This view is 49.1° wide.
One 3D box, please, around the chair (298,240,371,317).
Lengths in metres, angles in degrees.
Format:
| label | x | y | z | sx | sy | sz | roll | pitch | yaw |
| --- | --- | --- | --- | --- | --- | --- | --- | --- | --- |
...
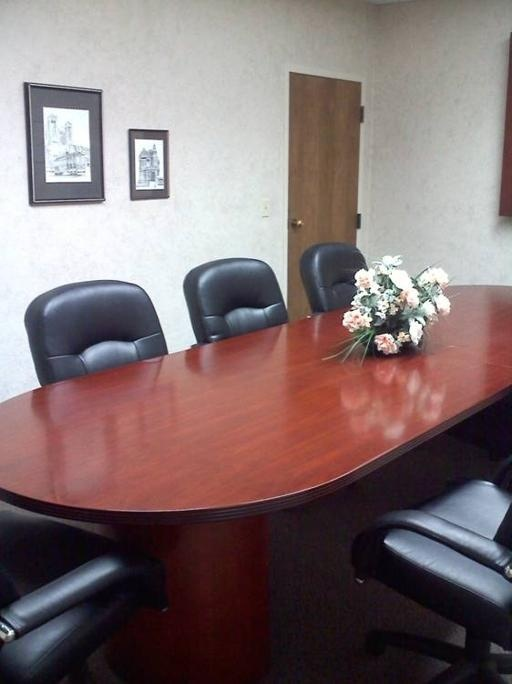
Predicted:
| label | x | y | z | sx | sy | sz | roll | pitch | yaw |
| --- | --- | --- | --- | --- | --- | --- | --- | --- | --- |
| chair | 0.447 | -0.396 | 3.364 | 0.390 | 0.539 | 0.445 | -11 | 14 | -38 |
